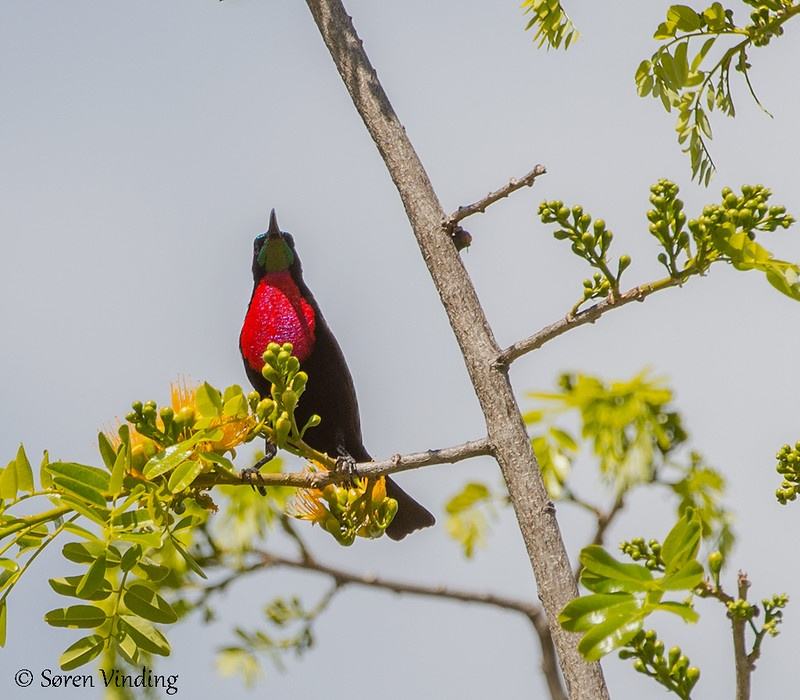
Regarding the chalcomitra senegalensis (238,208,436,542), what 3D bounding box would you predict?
[{"bbox_3d":[-0.218,0.154,4.908,0.317,0.758,1.165,-14,-32,21],"label":"chalcomitra senegalensis"}]
